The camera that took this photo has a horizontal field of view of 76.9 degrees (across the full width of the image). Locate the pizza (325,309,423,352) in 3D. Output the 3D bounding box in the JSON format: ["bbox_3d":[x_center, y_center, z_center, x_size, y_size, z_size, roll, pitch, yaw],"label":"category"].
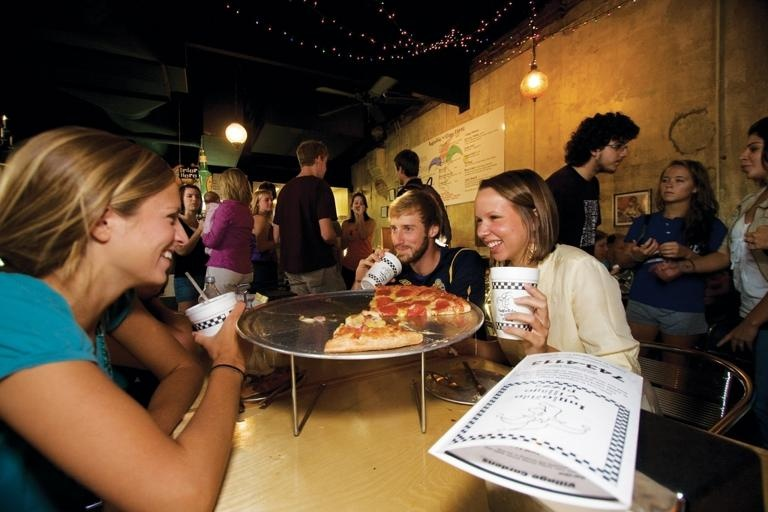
[{"bbox_3d":[-0.071,0.431,2.709,0.533,0.146,0.462,1,6,-9],"label":"pizza"}]

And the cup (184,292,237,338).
[{"bbox_3d":[-0.940,0.324,2.629,0.250,0.157,0.216,-30,5,-33],"label":"cup"}]

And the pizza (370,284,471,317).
[{"bbox_3d":[0.224,0.300,3.255,0.633,0.125,0.579,2,6,-3],"label":"pizza"}]

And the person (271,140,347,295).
[{"bbox_3d":[-0.794,-0.386,5.154,0.752,1.654,0.447,1,7,-10],"label":"person"}]

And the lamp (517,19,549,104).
[{"bbox_3d":[2.019,-2.632,6.390,0.288,1.188,1.003,4,7,18],"label":"lamp"}]

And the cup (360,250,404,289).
[{"bbox_3d":[-0.021,0.111,3.389,0.261,0.277,0.124,1,7,-4],"label":"cup"}]
